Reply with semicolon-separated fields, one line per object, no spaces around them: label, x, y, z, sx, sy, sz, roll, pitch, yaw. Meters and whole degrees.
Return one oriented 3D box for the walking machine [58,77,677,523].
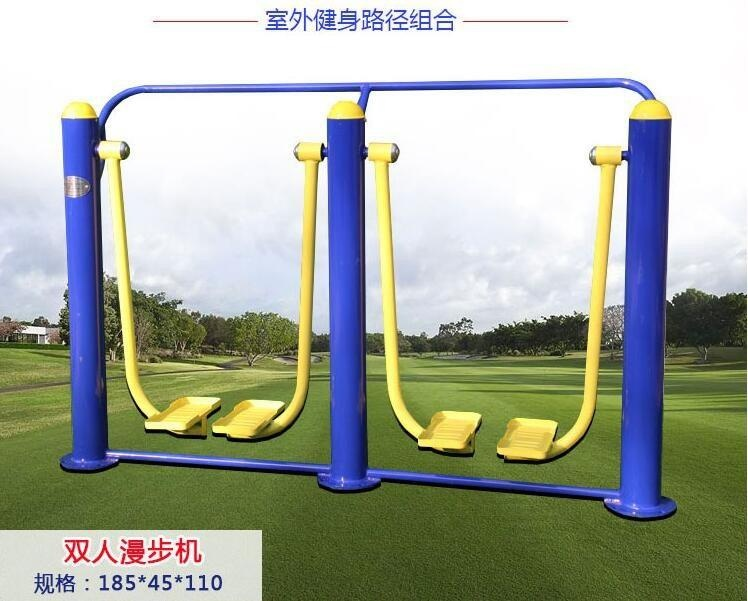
walking machine;-0.130;-0.089;3.470;3.810;2.418;0.518;2;1;9
